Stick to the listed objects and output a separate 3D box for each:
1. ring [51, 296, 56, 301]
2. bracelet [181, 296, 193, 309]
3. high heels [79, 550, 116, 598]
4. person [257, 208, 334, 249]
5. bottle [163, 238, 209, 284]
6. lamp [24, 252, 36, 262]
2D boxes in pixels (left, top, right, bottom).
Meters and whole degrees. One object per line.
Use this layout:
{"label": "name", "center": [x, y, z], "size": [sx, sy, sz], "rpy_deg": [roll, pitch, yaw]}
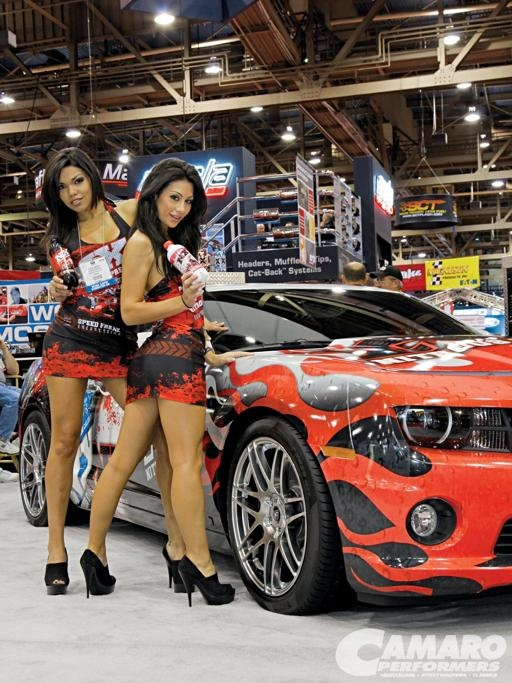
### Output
{"label": "ring", "center": [-0.860, -0.186, 2.362], "size": [0.020, 0.020, 0.054], "rpy_deg": [-1, -1, -19]}
{"label": "bracelet", "center": [-0.231, -0.141, 1.951], "size": [0.010, 0.040, 0.042], "rpy_deg": [-35, 0, -18]}
{"label": "high heels", "center": [-0.628, 0.932, 2.222], "size": [0.122, 0.154, 0.213], "rpy_deg": [-6, -31, 9]}
{"label": "person", "center": [0.929, -2.732, 13.896], "size": [1.687, 0.455, 1.139], "rpy_deg": [-1, 45, 1]}
{"label": "bottle", "center": [-0.236, -0.266, 1.884], "size": [0.171, 0.157, 0.037], "rpy_deg": [-11, -17, 37]}
{"label": "lamp", "center": [-15.163, -5.719, 37.516], "size": [0.927, 0.199, 0.855], "rpy_deg": [-9, 44, -18]}
